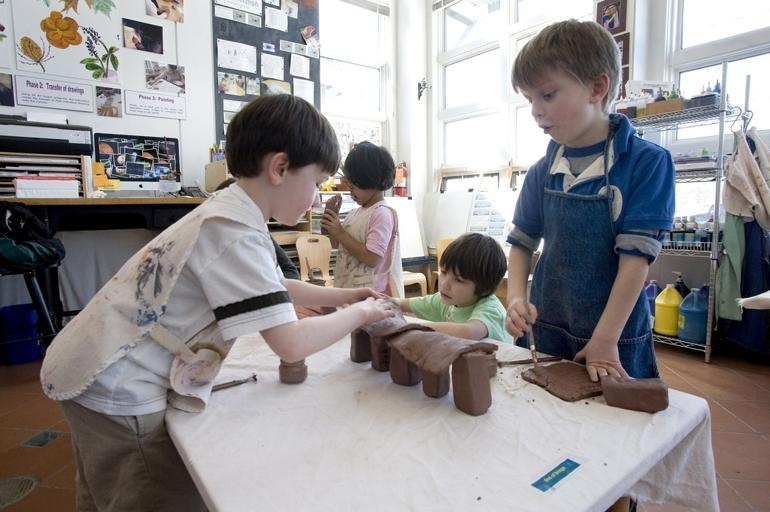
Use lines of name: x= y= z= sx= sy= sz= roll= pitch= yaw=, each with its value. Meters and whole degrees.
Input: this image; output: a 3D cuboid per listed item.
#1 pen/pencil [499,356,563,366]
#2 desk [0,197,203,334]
pen/pencil: x=0.512 y=0.369 z=1.741 sx=0.178 sy=0.016 sz=0.029 roll=-2 pitch=-9 yaw=-18
desk: x=-1.550 y=0.024 z=2.586 sx=0.313 sy=0.753 sz=0.768 roll=12 pitch=16 yaw=39
